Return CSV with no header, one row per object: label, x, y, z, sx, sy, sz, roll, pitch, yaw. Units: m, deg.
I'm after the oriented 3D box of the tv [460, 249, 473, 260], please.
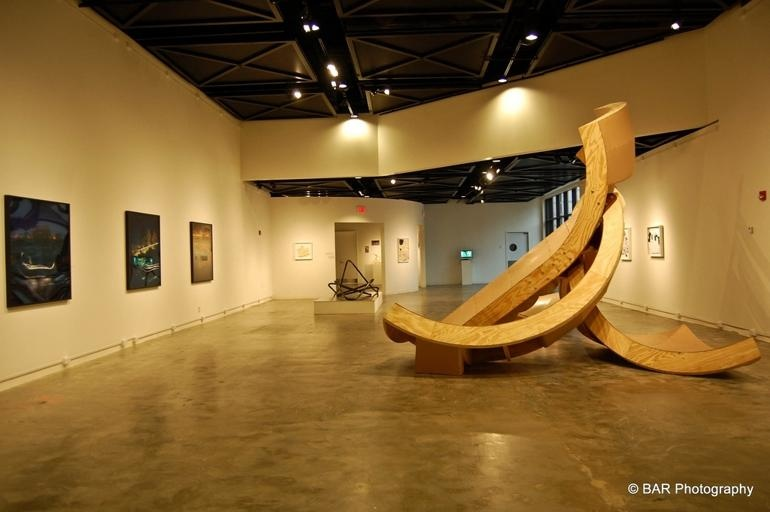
tv,3.985,-0.029,24.733,0.770,0.517,0.401,-1,-3,2
